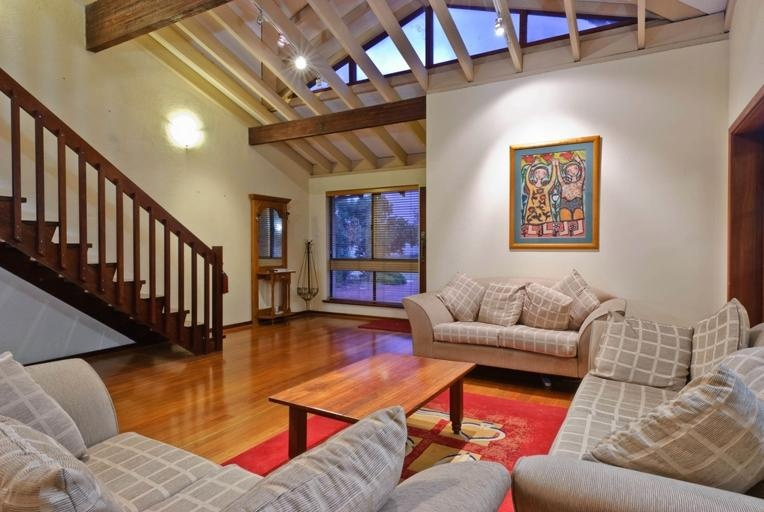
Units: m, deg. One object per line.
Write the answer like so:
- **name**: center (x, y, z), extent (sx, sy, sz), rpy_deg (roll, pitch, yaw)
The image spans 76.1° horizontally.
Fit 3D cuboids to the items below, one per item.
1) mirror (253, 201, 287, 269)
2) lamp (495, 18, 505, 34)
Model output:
- **mirror**: center (-1.854, -0.378, 8.139), extent (0.193, 1.198, 0.813), rpy_deg (4, 8, 24)
- **lamp**: center (1.233, -2.431, 5.156), extent (0.087, 0.199, 0.229), rpy_deg (2, 7, 16)
